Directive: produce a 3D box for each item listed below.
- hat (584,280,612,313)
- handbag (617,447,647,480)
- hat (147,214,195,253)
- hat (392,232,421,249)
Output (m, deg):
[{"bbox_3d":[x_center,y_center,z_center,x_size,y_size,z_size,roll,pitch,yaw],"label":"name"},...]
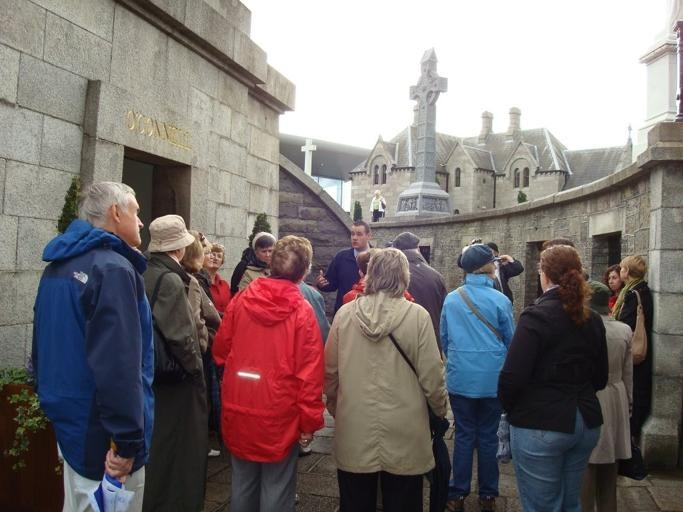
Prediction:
[{"bbox_3d":[2.070,0.331,5.947,0.161,0.274,0.399,-1,-3,19],"label":"hat"},{"bbox_3d":[2.384,1.688,6.082,0.191,0.271,0.263,-2,-3,21],"label":"handbag"},{"bbox_3d":[-1.361,-0.173,5.933,0.297,0.183,0.291,-8,5,19],"label":"hat"},{"bbox_3d":[0.666,-0.154,7.543,0.164,0.149,0.259,1,2,8],"label":"hat"}]
